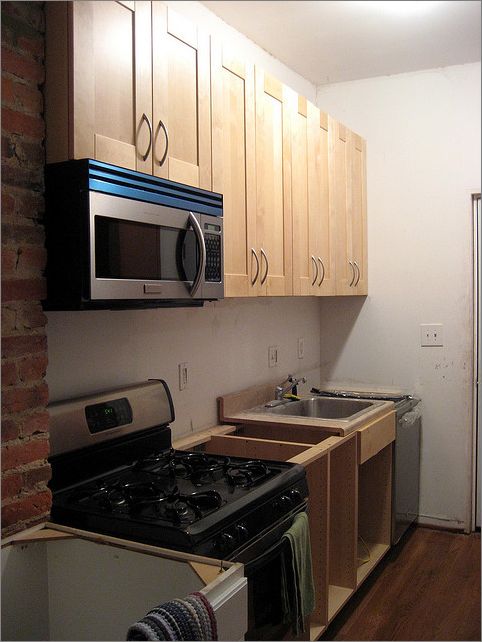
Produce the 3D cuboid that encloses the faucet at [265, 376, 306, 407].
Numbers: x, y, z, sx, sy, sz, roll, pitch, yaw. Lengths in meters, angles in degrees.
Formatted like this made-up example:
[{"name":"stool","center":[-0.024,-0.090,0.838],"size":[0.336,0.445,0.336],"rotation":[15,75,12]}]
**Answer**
[{"name":"faucet","center":[0.247,0.402,2.724],"size":[0.096,0.142,0.342],"rotation":[3,5,24]}]
